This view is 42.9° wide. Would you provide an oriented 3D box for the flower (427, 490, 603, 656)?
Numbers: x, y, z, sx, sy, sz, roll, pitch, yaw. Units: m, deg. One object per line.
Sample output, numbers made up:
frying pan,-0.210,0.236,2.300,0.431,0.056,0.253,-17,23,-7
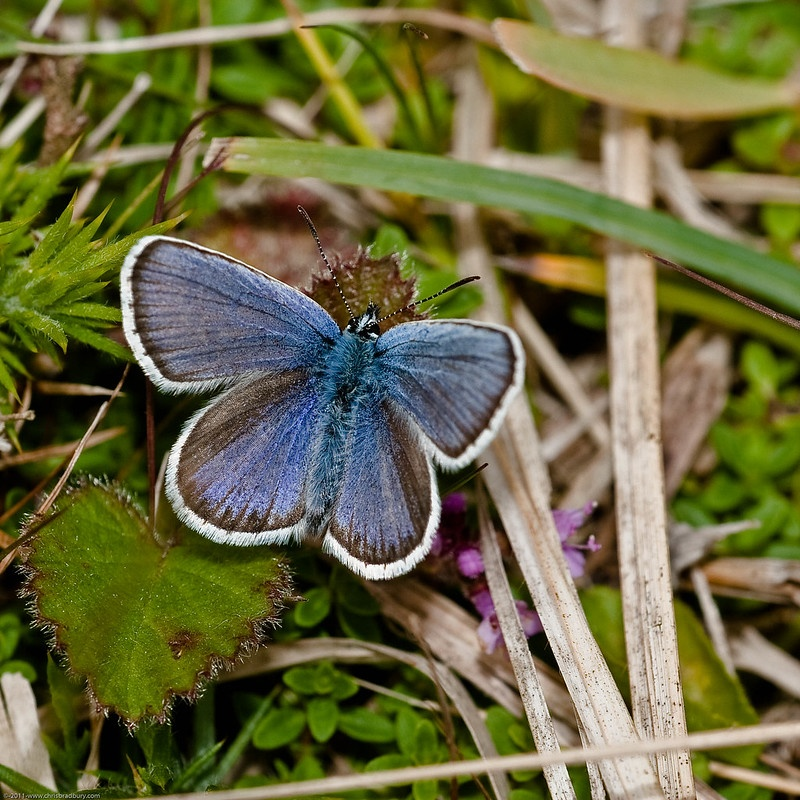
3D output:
flower,0.338,0.538,3.193,0.554,0.476,0.193,-17,-18,14
